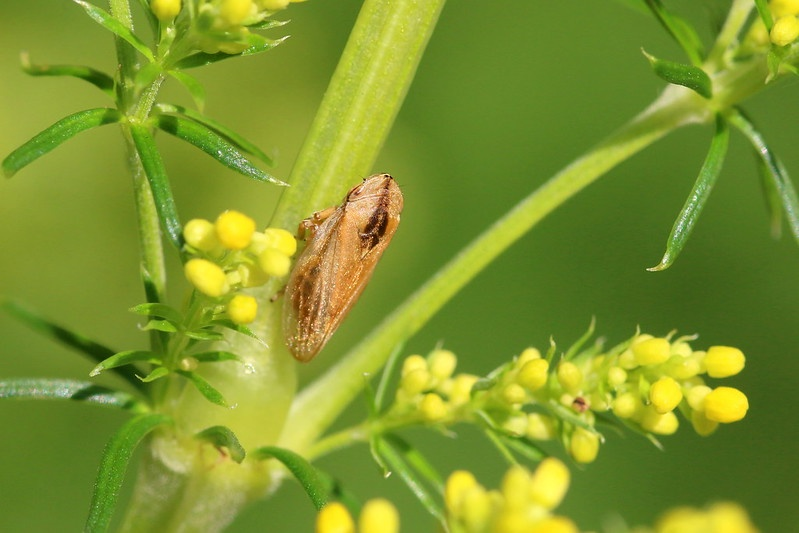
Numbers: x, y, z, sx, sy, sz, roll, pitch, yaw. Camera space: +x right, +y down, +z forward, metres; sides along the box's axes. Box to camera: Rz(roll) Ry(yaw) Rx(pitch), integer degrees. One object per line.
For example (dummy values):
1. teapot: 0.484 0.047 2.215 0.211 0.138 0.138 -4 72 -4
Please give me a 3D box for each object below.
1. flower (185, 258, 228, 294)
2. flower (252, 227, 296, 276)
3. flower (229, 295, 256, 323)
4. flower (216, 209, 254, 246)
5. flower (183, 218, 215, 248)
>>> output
1. flower: -0.493 0.029 2.166 0.107 0.061 0.072 41 -64 -3
2. flower: -0.340 -0.038 2.205 0.117 0.135 0.076 12 -33 -8
3. flower: -0.411 0.114 2.143 0.072 0.059 0.061 15 -34 -13
4. flower: -0.424 -0.098 2.136 0.079 0.096 0.054 16 6 6
5. flower: -0.524 -0.087 2.196 0.061 0.081 0.048 -37 -15 0
